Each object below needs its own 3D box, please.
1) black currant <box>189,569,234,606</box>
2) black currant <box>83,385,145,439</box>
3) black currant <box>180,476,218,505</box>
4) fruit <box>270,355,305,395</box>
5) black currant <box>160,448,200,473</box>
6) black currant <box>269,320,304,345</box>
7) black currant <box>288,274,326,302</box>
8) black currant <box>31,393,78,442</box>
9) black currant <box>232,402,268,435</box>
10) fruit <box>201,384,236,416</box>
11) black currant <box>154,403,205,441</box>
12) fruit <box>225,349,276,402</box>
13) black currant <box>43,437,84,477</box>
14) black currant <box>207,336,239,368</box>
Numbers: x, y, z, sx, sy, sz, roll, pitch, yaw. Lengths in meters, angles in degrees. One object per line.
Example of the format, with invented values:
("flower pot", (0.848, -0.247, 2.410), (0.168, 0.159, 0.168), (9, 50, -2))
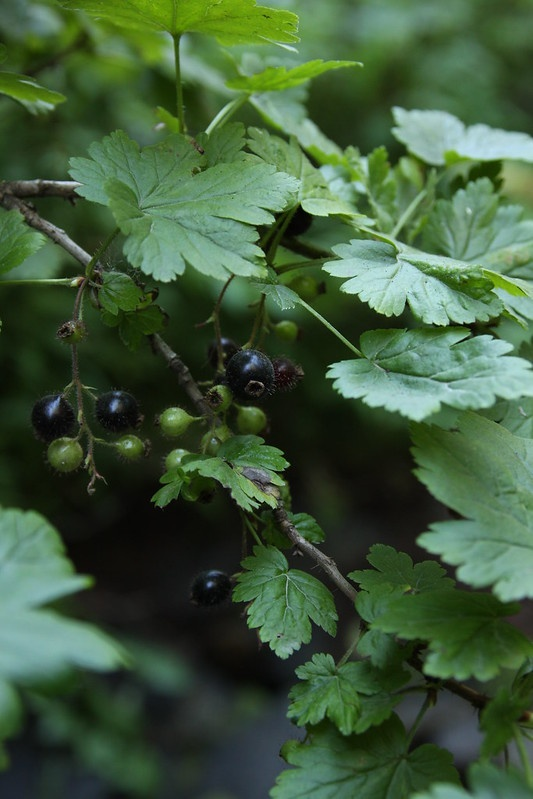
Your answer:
("black currant", (-0.095, 0.322, 1.351), (0.072, 0.051, 0.053), (-25, 30, 20))
("black currant", (-0.267, 0.022, 1.357), (0.073, 0.072, 0.079), (-7, 65, -4))
("black currant", (-0.119, 0.155, 1.333), (0.058, 0.057, 0.019), (32, 28, -41))
("fruit", (0.033, -0.041, 1.447), (0.069, 0.050, 0.053), (8, 9, -2))
("black currant", (-0.147, 0.109, 1.344), (0.047, 0.044, 0.048), (5, 71, -8))
("black currant", (0.038, -0.146, 1.659), (0.061, 0.042, 0.040), (18, 50, -17))
("black currant", (0.089, -0.225, 1.592), (0.076, 0.041, 0.052), (16, -11, -32))
("black currant", (-0.359, 0.035, 1.349), (0.082, 0.089, 0.072), (-5, 34, -20))
("black currant", (-0.044, 0.028, 1.501), (0.067, 0.048, 0.048), (22, 43, 23))
("fruit", (-0.087, 0.000, 1.360), (0.045, 0.050, 0.030), (17, 29, -4))
("black currant", (-0.152, 0.045, 1.387), (0.086, 0.038, 0.045), (-5, 5, -12))
("fruit", (-0.026, -0.037, 1.324), (0.093, 0.092, 0.081), (-7, 27, -6))
("black currant", (-0.341, 0.104, 1.359), (0.061, 0.072, 0.060), (-42, 81, -18))
("black currant", (-0.088, -0.095, 1.544), (0.070, 0.064, 0.070), (3, 76, -7))
